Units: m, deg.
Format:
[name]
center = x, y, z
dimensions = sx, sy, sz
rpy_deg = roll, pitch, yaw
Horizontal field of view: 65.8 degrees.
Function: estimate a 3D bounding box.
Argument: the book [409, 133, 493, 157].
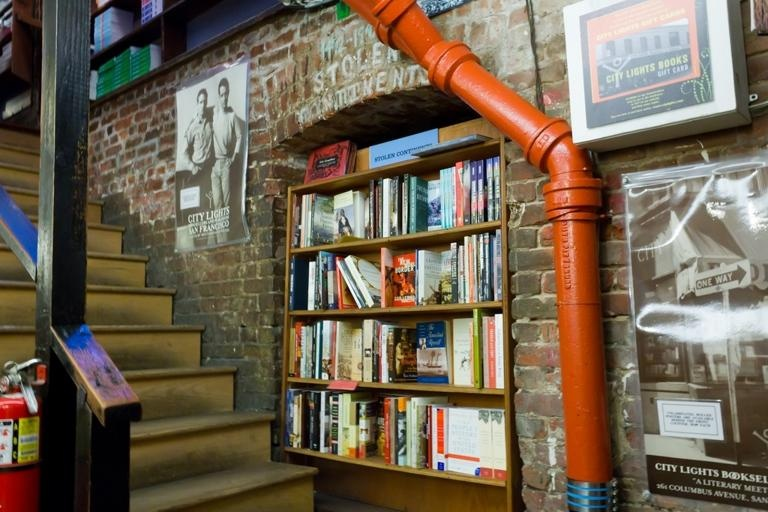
[book]
center = 0.345, -0.574, 3.093
dimensions = 0.146, 0.025, 0.259
rpy_deg = 0, -6, -38
